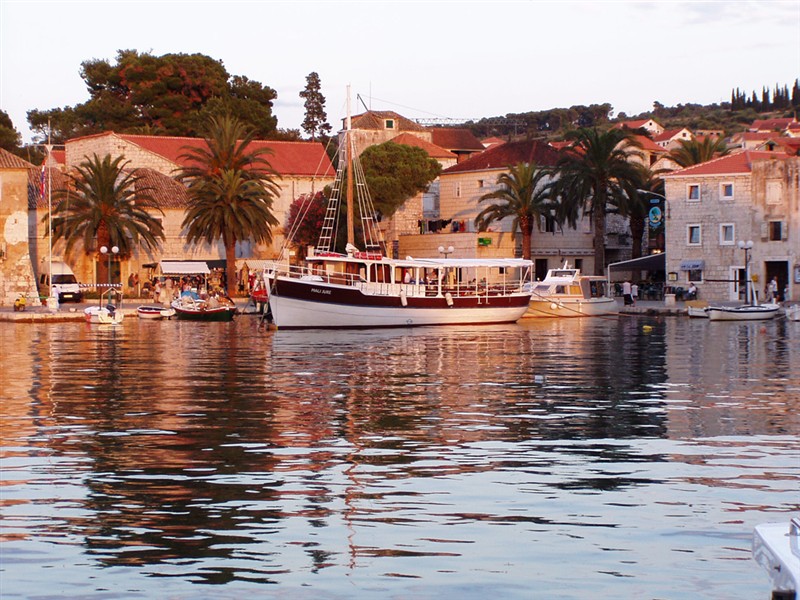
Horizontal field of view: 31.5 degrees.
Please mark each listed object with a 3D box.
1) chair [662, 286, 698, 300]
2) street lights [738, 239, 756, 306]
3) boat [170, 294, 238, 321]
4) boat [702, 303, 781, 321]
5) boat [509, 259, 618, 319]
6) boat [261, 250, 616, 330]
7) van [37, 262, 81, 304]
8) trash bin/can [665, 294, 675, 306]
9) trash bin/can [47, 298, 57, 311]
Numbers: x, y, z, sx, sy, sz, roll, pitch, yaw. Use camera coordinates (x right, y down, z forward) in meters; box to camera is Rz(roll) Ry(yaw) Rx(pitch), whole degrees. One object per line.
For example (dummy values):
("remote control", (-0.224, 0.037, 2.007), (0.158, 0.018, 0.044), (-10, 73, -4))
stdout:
("chair", (16.463, -0.416, 83.850), (1.718, 0.844, 1.115), (1, 1, 1))
("street lights", (18.161, -1.627, 74.835), (0.900, 3.060, 0.755), (1, -1, 15))
("boat", (-9.962, 0.405, 71.389), (3.512, 1.187, 1.439), (-3, -1, 20))
("boat", (17.197, 0.597, 71.479), (3.419, 0.886, 3.445), (-3, -1, 12))
("boat", (9.513, -0.251, 77.120), (5.272, 2.476, 2.871), (-6, 9, -26))
("boat", (-0.210, -0.525, 63.981), (12.788, 3.416, 2.182), (-2, -1, -37))
("van", (-20.023, -1.119, 82.154), (2.058, 1.933, 3.961), (-4, 14, -35))
("trash bin/can", (15.785, -0.048, 83.188), (0.837, 0.718, 0.799), (0, -3, -6))
("trash bin/can", (-18.009, 0.158, 73.465), (0.747, 0.728, 0.716), (-2, 5, -18))
